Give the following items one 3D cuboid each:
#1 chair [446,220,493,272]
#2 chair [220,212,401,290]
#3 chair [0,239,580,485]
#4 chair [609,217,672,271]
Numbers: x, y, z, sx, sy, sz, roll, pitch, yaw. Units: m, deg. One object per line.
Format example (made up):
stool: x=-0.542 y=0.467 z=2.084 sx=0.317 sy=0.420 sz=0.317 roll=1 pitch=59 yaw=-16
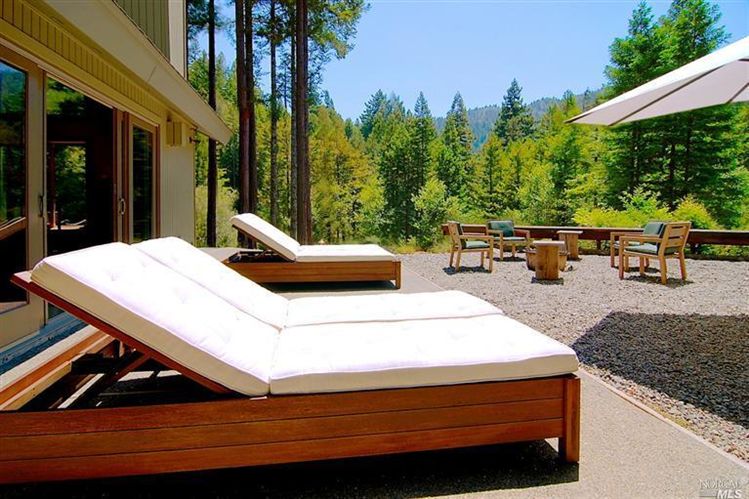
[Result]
chair: x=1.812 y=-0.084 z=9.247 sx=0.879 sy=1.097 sz=1.120 roll=-1 pitch=4 yaw=0
chair: x=-0.850 y=0.066 z=7.050 sx=1.960 sy=0.881 sz=1.136 roll=0 pitch=6 yaw=-9
chair: x=-0.430 y=0.833 z=3.483 sx=2.726 sy=1.134 sz=1.993 roll=-2 pitch=6 yaw=-13
chair: x=4.395 y=0.027 z=7.867 sx=0.655 sy=0.909 sz=0.838 roll=-4 pitch=6 yaw=-31
